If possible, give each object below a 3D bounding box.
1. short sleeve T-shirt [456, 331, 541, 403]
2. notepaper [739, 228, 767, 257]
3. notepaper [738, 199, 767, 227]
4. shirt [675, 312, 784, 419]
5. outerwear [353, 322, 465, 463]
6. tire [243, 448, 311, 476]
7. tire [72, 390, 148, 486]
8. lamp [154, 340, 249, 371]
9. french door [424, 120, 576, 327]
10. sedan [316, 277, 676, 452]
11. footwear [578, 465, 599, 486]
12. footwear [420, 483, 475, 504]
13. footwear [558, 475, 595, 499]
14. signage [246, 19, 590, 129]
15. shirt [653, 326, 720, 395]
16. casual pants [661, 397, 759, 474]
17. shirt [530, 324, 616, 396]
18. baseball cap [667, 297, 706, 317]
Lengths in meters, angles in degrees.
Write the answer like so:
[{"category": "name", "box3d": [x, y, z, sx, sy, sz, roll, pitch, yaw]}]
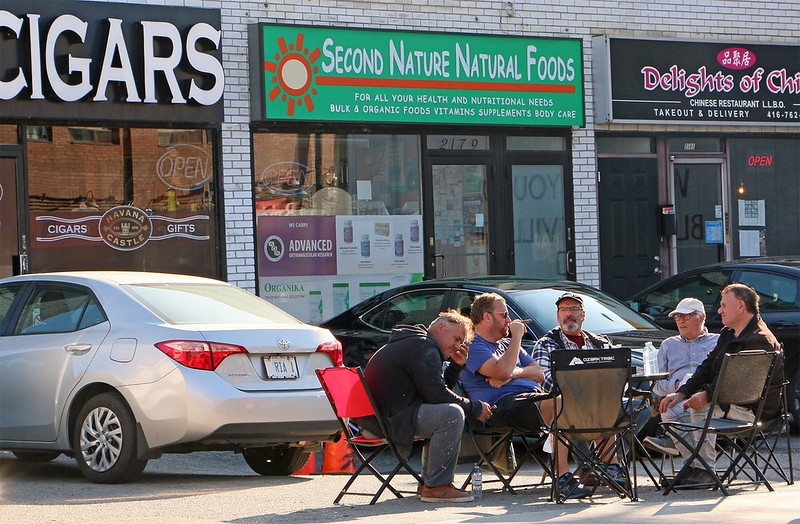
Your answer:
[{"category": "short sleeve T-shirt", "box3d": [1.015, 1.148, 15.066, 0.621, 0.560, 0.344, 16, -35, -41]}, {"category": "notepaper", "box3d": [5.926, -0.311, 23.943, 0.493, 0.413, 0.051, 2, -4, -18]}, {"category": "notepaper", "box3d": [5.936, -0.809, 23.999, 0.485, 0.439, 0.051, 1, -6, -14]}, {"category": "shirt", "box3d": [3.661, 1.059, 15.231, 0.774, 0.927, 1.076, 2, 4, -31]}, {"category": "outerwear", "box3d": [0.110, 1.327, 14.558, 1.349, 1.268, 1.052, 3, -3, -10]}, {"category": "tire", "box3d": [-1.383, 2.239, 15.869, 0.452, 0.160, 0.458, -2, -3, 28]}, {"category": "tire", "box3d": [-3.045, 1.860, 15.049, 0.955, 0.950, 0.322, -8, -4, 34]}, {"category": "lamp", "box3d": [-2.081, 0.989, 14.908, 0.911, 0.319, 0.123, -1, 1, -8]}, {"category": "french door", "box3d": [1.363, -0.644, 20.873, 3.102, 2.591, 0.220, -1, 0, -21]}, {"category": "sedan", "box3d": [1.238, 1.082, 17.141, 3.820, 1.285, 1.803, -3, -3, 31]}, {"category": "footwear", "box3d": [1.948, 2.239, 14.713, 0.176, 0.222, 0.230, -4, 3, -42]}, {"category": "footwear", "box3d": [0.494, 2.367, 14.456, 0.546, 0.226, 0.199, -1, -2, 2]}, {"category": "footwear", "box3d": [1.779, 2.322, 14.528, 0.395, 0.187, 0.169, 0, -1, 24]}, {"category": "signage", "box3d": [0.353, -2.874, 22.162, 5.951, 1.360, 0.604, -3, 2, -31]}, {"category": "shirt", "box3d": [3.310, 1.148, 15.886, 0.798, 0.759, 0.455, -4, 2, 9]}, {"category": "casual pants", "box3d": [3.497, 1.863, 15.144, 0.498, 0.554, 0.484, 13, -10, -36]}, {"category": "shirt", "box3d": [1.929, 1.055, 15.355, 0.905, 0.454, 0.531, 5, -5, -17]}, {"category": "baseball cap", "box3d": [3.264, 0.513, 15.856, 0.317, 0.152, 0.224, 7, -10, -36]}]
